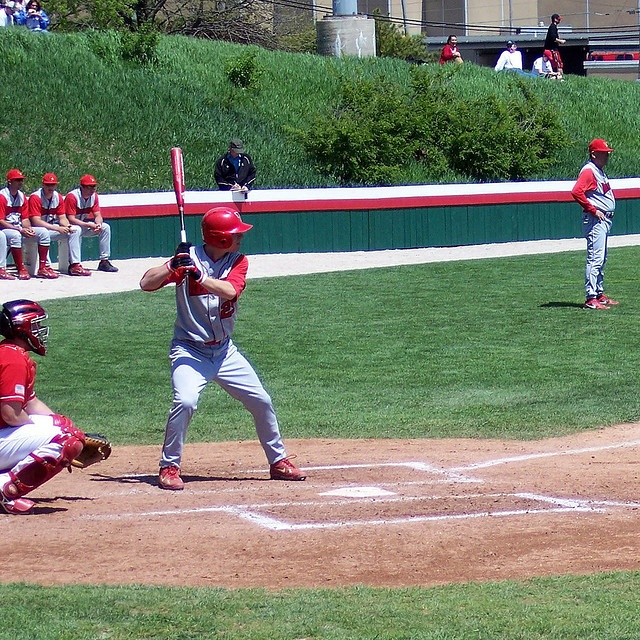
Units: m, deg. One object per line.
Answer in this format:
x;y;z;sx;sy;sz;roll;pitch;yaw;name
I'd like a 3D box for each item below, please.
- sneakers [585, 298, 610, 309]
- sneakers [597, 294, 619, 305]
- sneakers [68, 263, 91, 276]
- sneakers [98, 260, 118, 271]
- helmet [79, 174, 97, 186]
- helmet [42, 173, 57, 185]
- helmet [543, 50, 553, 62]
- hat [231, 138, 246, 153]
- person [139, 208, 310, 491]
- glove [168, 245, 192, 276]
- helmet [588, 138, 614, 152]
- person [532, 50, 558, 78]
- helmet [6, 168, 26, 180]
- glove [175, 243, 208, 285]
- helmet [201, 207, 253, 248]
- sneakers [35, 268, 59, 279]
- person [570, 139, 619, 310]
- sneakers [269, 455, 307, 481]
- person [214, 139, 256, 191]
3.807;-0.240;24.652;0.368;0.180;0.121;-1;20;2;sneakers
3.997;-0.294;25.080;0.257;0.123;0.088;11;25;15;sneakers
-3.707;-0.791;27.481;0.368;0.168;0.138;6;27;10;sneakers
-3.306;-0.860;28.140;0.370;0.167;0.126;5;12;33;sneakers
-3.592;-2.122;27.281;0.305;0.189;0.229;6;13;37;helmet
-4.016;-2.087;26.620;0.184;0.146;0.252;-3;7;-16;helmet
5.618;-6.604;44.622;0.170;0.090;0.267;-30;46;-21;helmet
-1.403;-2.909;29.794;0.165;0.125;0.239;-6;26;-19;hat
-1.068;0.448;17.655;1.342;2.417;0.467;-2;7;-6;person
-1.365;-0.608;17.427;0.243;0.254;0.107;-6;-21;-20;glove
3.680;-2.307;23.786;0.341;0.165;0.250;3;8;31;helmet
5.537;-6.358;44.472;0.598;0.695;0.837;-1;7;6;person
-4.526;-2.145;26.525;0.206;0.144;0.348;-3;7;-16;helmet
-1.276;-0.569;17.371;0.137;0.346;0.349;-16;-35;27;glove
-0.951;-0.917;17.613;0.438;0.348;0.354;0;13;-1;helmet
-4.143;-0.729;27.101;0.278;0.126;0.149;7;12;32;sneakers
3.670;-1.263;24.166;0.528;2.328;1.104;0;7;10;person
-0.344;1.474;18.095;0.449;0.304;0.163;1;17;0;sneakers
-1.428;-2.477;30.307;0.651;1.161;0.651;-8;21;-20;person
